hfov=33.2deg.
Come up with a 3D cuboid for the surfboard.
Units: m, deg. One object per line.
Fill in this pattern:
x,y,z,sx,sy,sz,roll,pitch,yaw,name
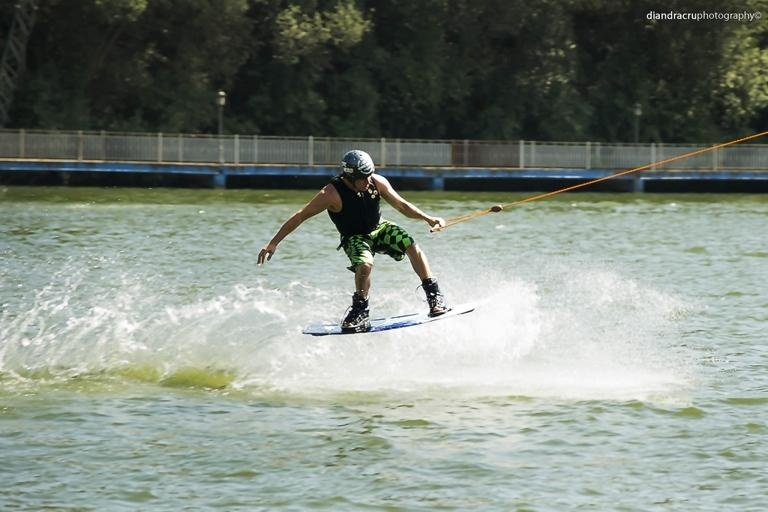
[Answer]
0.087,1.238,24.441,1.925,0.119,0.432,-9,15,2,surfboard
